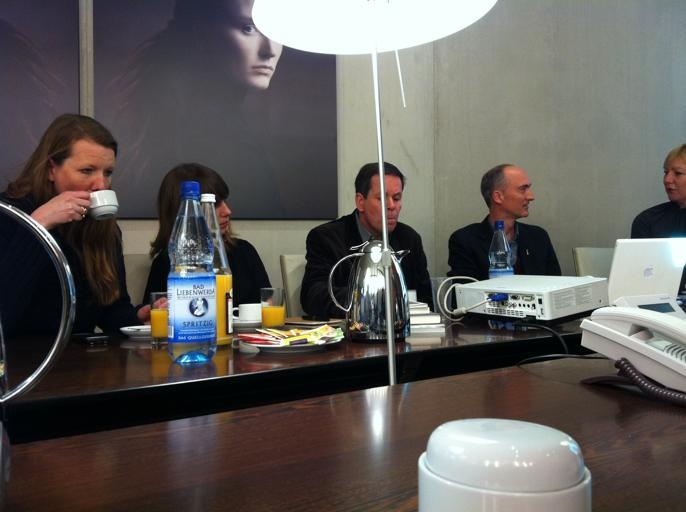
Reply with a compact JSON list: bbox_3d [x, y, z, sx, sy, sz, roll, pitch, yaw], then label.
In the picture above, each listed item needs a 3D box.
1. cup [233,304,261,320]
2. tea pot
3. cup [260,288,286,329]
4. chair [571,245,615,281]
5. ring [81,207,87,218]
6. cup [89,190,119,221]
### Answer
[{"bbox_3d":[-0.283,0.169,1.559,0.060,0.033,0.044,-3,-3,4],"label":"cup"},{"bbox_3d":[0.071,0.094,1.280,0.263,0.301,0.179,-1,2,-4],"label":"tea pot"},{"bbox_3d":[-0.195,0.139,1.423,0.092,0.155,0.091,-1,-3,0],"label":"cup"},{"bbox_3d":[1.218,0.014,2.511,0.185,0.237,0.188,2,6,31],"label":"chair"},{"bbox_3d":[-0.874,-0.152,1.736,0.019,0.035,0.033,4,4,-20],"label":"ring"},{"bbox_3d":[-0.811,-0.176,1.738,0.084,0.094,0.153,-3,4,-26],"label":"cup"}]
